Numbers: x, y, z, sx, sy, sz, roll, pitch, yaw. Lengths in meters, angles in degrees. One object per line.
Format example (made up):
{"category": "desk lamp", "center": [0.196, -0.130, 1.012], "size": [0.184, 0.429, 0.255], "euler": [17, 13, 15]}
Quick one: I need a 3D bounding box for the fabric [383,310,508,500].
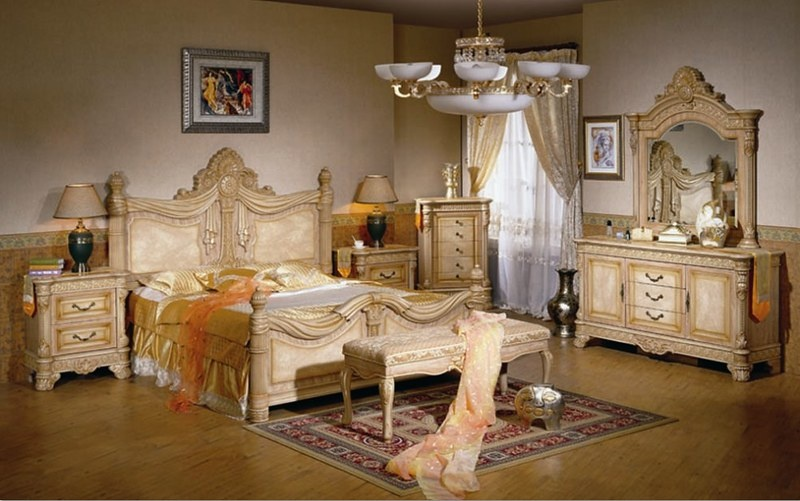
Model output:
{"category": "fabric", "center": [0.547, 1.317, 4.894], "size": [0.611, 0.181, 1.640], "euler": [11, 29, 22]}

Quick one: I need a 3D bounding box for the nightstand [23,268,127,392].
{"category": "nightstand", "center": [-3.876, 0.899, 6.621], "size": [1.090, 1.278, 0.520], "euler": [-6, 9, -33]}

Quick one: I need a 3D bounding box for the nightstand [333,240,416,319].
{"category": "nightstand", "center": [-0.137, 0.523, 8.687], "size": [1.030, 0.948, 0.746], "euler": [-4, -17, 16]}

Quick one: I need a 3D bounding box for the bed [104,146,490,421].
{"category": "bed", "center": [-1.472, 0.149, 7.121], "size": [3.653, 2.431, 3.554], "euler": [7, 9, 31]}
